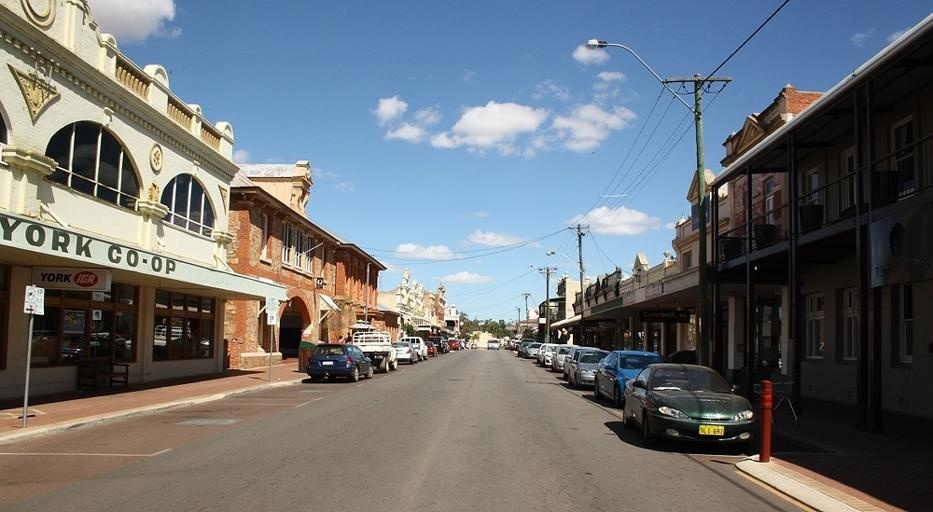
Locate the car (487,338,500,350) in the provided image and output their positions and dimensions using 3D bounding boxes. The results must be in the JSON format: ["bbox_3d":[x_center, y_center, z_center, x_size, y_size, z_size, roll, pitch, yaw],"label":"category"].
[{"bbox_3d":[4.048,13.225,103.187,1.407,1.121,2.227,-1,-15,1],"label":"car"}]

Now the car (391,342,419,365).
[{"bbox_3d":[-4.567,7.120,49.339,1.575,1.195,3.682,0,-12,3],"label":"car"}]

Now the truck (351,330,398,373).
[{"bbox_3d":[-6.235,5.571,45.683,2.648,2.518,4.991,-7,-9,-11],"label":"truck"}]
